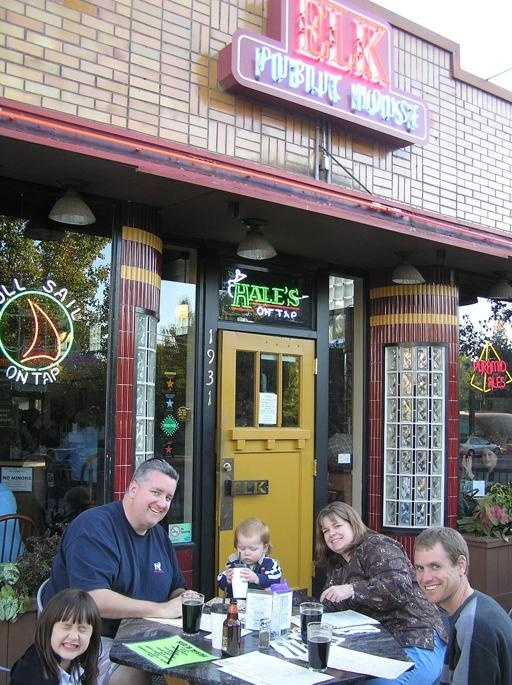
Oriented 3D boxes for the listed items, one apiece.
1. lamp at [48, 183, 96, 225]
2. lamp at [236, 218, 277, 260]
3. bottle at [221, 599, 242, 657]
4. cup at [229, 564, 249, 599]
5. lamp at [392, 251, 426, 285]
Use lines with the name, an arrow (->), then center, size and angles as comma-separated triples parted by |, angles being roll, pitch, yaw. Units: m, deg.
lamp -> -1.143, -0.853, 4.223 | 0.287, 0.224, 0.338 | 1, -4, -14
lamp -> 0.002, -0.775, 5.039 | 0.298, 0.283, 0.285 | 1, -13, -2
bottle -> -0.085, 0.975, 2.330 | 0.059, 0.178, 0.063 | 0, -4, 0
cup -> -0.078, 1.059, 2.984 | 0.062, 0.148, 0.123 | 0, -4, -1
lamp -> 1.364, -0.647, 6.093 | 0.296, 0.285, 0.284 | 1, -9, -6
